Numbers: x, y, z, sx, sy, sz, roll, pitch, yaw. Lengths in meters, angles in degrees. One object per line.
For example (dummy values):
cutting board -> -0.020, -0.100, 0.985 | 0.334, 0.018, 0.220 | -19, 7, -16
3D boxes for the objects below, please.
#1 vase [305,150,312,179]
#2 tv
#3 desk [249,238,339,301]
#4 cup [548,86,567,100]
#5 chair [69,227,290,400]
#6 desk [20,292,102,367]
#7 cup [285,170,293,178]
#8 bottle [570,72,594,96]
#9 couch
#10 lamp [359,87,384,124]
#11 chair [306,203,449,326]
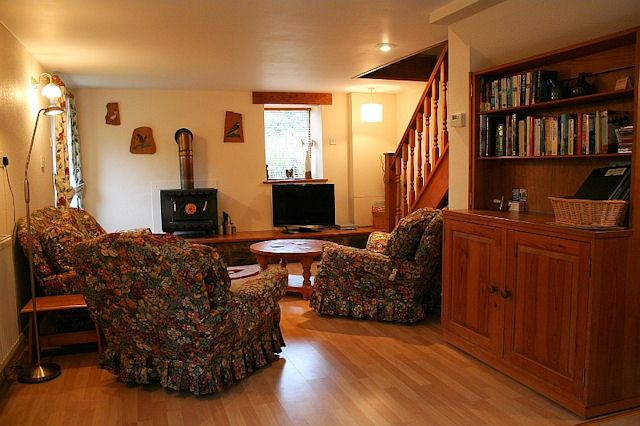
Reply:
vase -> -0.220, -0.901, 8.424 | 0.126, 0.486, 0.186 | -2, 13, -1
tv -> -0.298, -0.119, 7.792 | 1.174, 0.756, 0.129 | -1, 2, -24
desk -> -0.285, 0.625, 5.943 | 0.877, 0.444, 0.860 | 2, 6, 26
cup -> 1.896, -0.965, 3.681 | 0.126, 0.102, 0.105 | 1, 6, 21
chair -> -1.104, 0.749, 4.044 | 1.594, 1.116, 1.597 | 0, 3, 5
desk -> -2.353, 1.020, 4.265 | 0.620, 0.451, 0.494 | -7, 8, -24
cup -> -0.535, -0.717, 8.301 | 0.175, 0.147, 0.106 | -7, 14, -23
bottle -> 2.058, -1.008, 3.582 | 0.126, 0.184, 0.207 | 11, 18, 43
couch -> -2.497, 0.655, 4.910 | 0.956, 1.459, 1.130 | 2, 10, -14
lamp -> 0.886, -1.914, 7.946 | 0.393, 0.578, 0.379 | -6, 13, -23
chair -> 0.715, 0.519, 5.152 | 1.470, 1.085, 1.178 | 4, 9, 42
